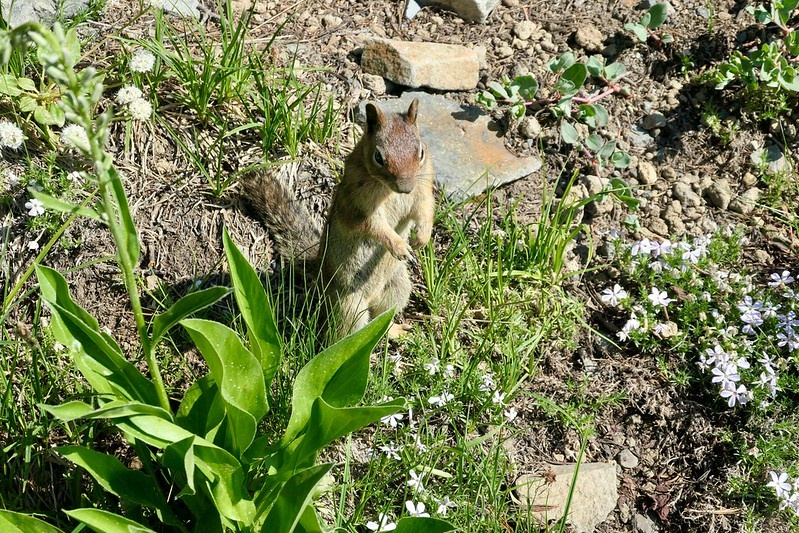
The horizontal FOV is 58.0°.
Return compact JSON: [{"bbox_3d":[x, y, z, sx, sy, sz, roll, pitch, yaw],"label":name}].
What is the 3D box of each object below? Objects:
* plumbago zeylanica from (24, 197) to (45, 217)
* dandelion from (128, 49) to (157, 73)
[{"bbox_3d":[-2.396,-0.386,4.732,0.137,0.035,0.178,-2,76,2],"label":"plumbago zeylanica"},{"bbox_3d":[-1.655,-1.323,4.625,0.129,0.151,0.256,9,38,-20],"label":"dandelion"}]
